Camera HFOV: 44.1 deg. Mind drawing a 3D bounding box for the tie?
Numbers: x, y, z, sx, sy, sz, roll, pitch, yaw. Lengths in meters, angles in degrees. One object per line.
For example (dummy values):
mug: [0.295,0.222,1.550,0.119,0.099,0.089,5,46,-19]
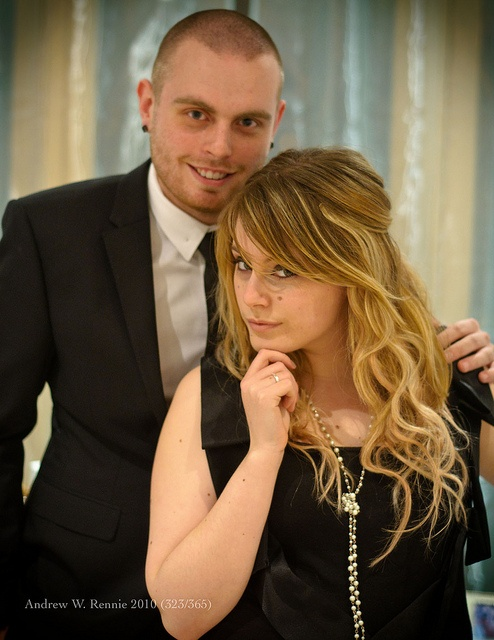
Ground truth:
tie: [-0.102,-0.085,1.733,0.046,0.384,0.044,-1,4,-14]
